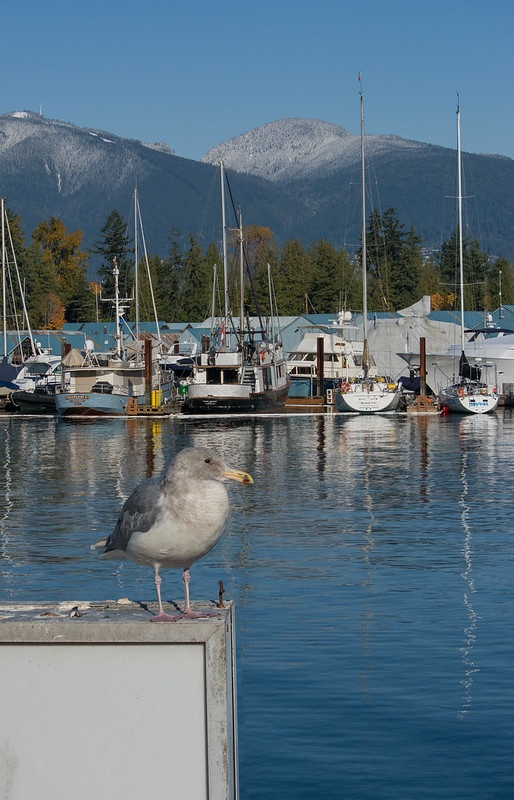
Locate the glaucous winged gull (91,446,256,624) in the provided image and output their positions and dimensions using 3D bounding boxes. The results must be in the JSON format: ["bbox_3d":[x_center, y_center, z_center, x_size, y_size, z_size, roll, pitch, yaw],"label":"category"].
[{"bbox_3d":[-0.456,0.692,8.126,0.807,0.801,2.260,-3,3,-7],"label":"glaucous winged gull"}]

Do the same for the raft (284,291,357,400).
[{"bbox_3d":[3.683,-2.169,76.269,1.952,4.574,8.361,0,-2,9],"label":"raft"}]

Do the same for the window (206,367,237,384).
[{"bbox_3d":[-1.482,-1.025,59.911,1.329,0.655,0.991,-3,3,-3],"label":"window"}]
